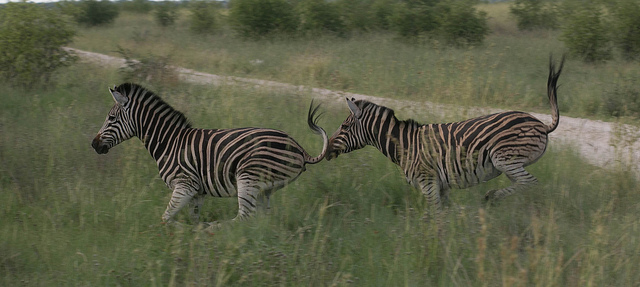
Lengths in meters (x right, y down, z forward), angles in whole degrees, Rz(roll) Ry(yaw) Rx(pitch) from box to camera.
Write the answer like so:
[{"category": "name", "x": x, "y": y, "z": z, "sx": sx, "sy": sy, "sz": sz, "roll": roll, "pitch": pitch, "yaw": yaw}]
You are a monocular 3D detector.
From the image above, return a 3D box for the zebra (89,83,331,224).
[{"category": "zebra", "x": -3.906, "y": 0.411, "z": 26.965, "sx": 6.528, "sy": 4.200, "sz": 2.380, "roll": 9, "pitch": 40, "yaw": 14}]
